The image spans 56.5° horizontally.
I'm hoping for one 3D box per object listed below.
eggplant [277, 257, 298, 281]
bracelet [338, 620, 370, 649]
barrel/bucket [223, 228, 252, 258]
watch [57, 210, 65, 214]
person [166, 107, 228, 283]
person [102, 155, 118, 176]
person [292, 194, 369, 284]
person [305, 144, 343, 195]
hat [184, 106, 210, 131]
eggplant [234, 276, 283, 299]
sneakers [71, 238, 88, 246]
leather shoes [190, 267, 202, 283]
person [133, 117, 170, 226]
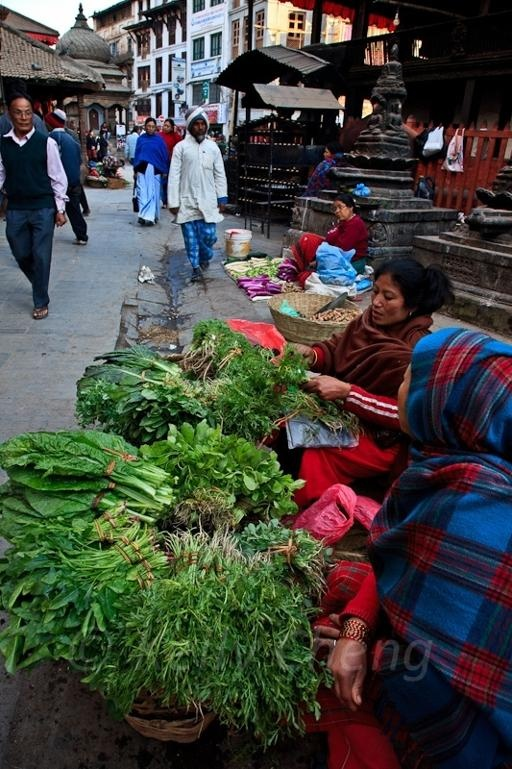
[{"bbox_3d":[0.409,-1.569,6.550,0.136,0.341,0.269,1,-7,20],"label":"eggplant"},{"bbox_3d":[0.258,0.643,1.243,0.057,0.063,0.063,-12,22,45],"label":"bracelet"},{"bbox_3d":[-0.314,-2.362,8.026,0.505,0.435,0.505,1,27,0],"label":"barrel/bucket"},{"bbox_3d":[-2.122,-1.850,5.135,0.046,0.034,0.045,-5,30,-14],"label":"watch"},{"bbox_3d":[-0.874,-2.803,7.067,0.864,2.317,0.839,0,22,-11],"label":"person"},{"bbox_3d":[-6.570,-9.675,21.250,0.590,0.864,1.087,-3,22,-18],"label":"person"},{"bbox_3d":[0.999,-1.838,6.249,0.988,1.220,0.816,-5,12,-17],"label":"person"},{"bbox_3d":[1.184,-3.757,8.375,0.549,0.868,1.209,7,21,5],"label":"person"},{"bbox_3d":[-0.846,-3.827,6.864,0.339,0.339,0.353,-8,-12,-12],"label":"hat"},{"bbox_3d":[0.022,-1.298,6.481,0.439,0.174,0.562,-6,26,-16],"label":"eggplant"},{"bbox_3d":[-3.189,-2.539,8.560,0.275,0.109,0.134,5,17,21],"label":"sneakers"},{"bbox_3d":[-0.898,-1.606,7.071,0.199,0.263,0.595,-2,12,-7],"label":"leather shoes"},{"bbox_3d":[-2.369,-4.711,10.687,0.767,2.204,1.239,0,22,-12],"label":"person"}]
